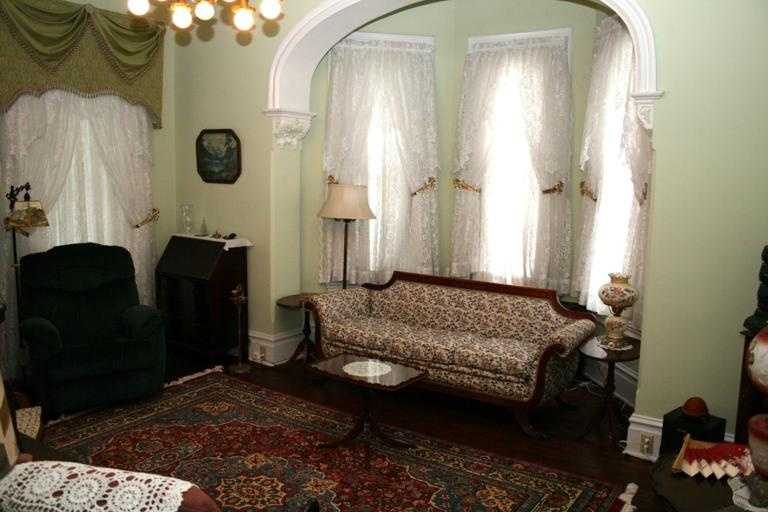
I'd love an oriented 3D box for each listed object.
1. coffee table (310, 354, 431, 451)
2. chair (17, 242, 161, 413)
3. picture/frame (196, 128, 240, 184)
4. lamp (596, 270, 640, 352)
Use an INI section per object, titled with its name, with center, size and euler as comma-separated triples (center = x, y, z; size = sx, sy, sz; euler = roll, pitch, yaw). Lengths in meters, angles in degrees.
[coffee table]
center = -0.119, 0.986, 4.587
size = 1.009, 0.758, 0.655
euler = 2, 2, 41
[chair]
center = -2.733, 0.594, 5.646
size = 1.341, 1.667, 1.536
euler = -6, 5, -34
[picture/frame]
center = -1.795, -1.111, 6.261
size = 0.568, 0.508, 0.041
euler = 15, 20, 37
[lamp]
center = 1.938, 0.424, 4.768
size = 0.296, 0.582, 0.574
euler = 6, 12, 24
